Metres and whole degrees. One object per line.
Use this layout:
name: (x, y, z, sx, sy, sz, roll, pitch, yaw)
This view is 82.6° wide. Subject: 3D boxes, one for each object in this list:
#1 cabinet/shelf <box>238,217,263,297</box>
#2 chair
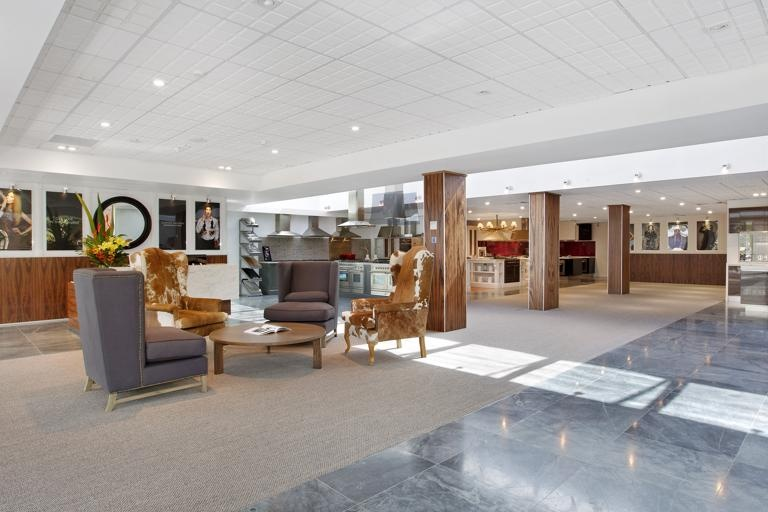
cabinet/shelf: (-4.499, -0.049, 14.567, 0.947, 2.357, 0.787, -1, 4, -18)
chair: (-2.157, 0.808, 5.562, 2.855, 1.320, 1.728, -2, 1, -28)
